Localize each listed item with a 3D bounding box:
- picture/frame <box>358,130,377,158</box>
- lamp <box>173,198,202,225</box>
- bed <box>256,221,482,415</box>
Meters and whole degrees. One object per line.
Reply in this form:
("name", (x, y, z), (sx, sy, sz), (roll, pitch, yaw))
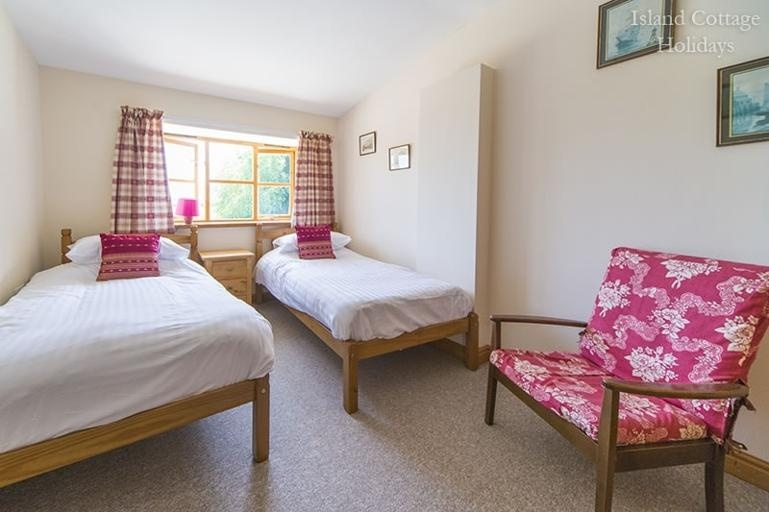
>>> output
("picture/frame", (-0.189, -1.338, 5.947), (0.029, 0.288, 0.400), (2, -1, -34))
("lamp", (-2.209, -0.511, 5.685), (0.247, 0.293, 0.344), (-4, 8, -25))
("bed", (-0.410, 0.404, 4.804), (1.103, 0.806, 1.860), (-3, 6, -33))
